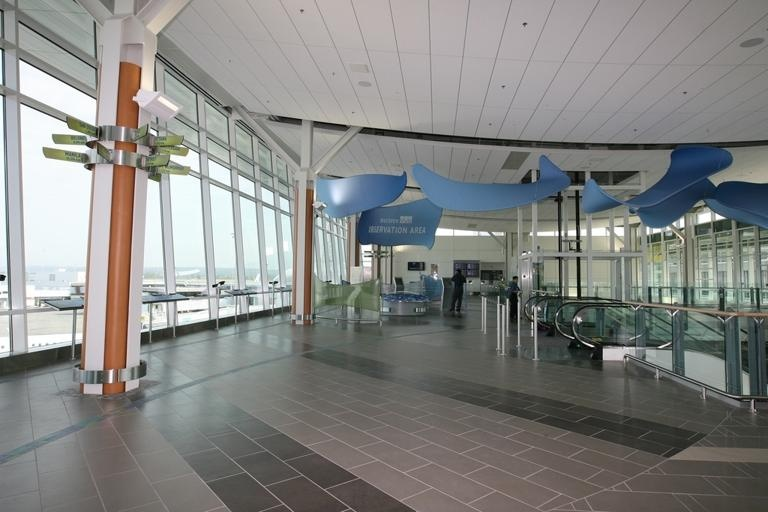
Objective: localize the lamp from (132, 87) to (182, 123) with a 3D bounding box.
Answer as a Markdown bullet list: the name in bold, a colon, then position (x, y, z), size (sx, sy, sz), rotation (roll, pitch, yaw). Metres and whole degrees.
- **lamp**: position (-3.432, -2.314, 7.129), size (0.544, 0.398, 0.426), rotation (1, 5, 1)
